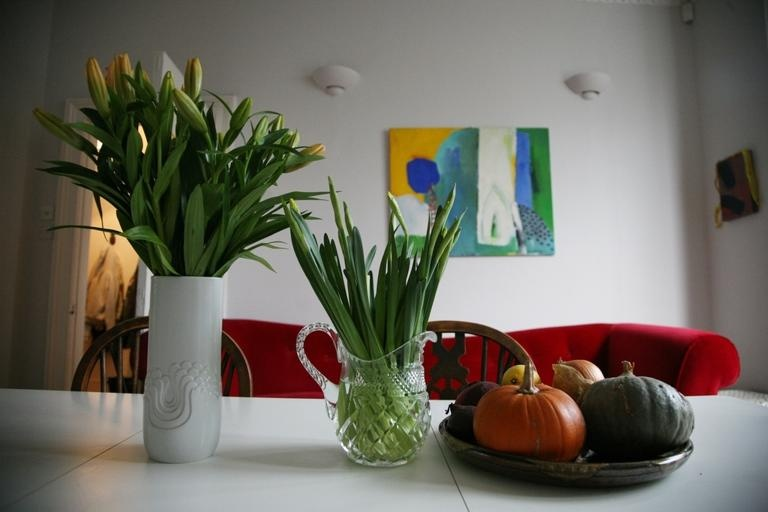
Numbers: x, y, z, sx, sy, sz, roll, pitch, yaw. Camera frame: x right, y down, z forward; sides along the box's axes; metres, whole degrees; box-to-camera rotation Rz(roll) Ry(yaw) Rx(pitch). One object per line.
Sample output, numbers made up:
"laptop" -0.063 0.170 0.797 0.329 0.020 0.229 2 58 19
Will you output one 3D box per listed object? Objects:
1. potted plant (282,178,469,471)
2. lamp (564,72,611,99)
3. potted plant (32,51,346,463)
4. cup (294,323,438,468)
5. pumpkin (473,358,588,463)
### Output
"potted plant" -0.006 0.190 1.515 0.499 0.916 0.488 -1 -3 0
"lamp" 1.412 -1.149 3.736 0.342 0.168 0.168 0 8 -5
"potted plant" -0.405 0.035 1.284 0.495 0.857 0.655 -1 -7 44
"cup" -0.054 0.315 1.268 0.274 0.314 0.212 3 -1 3
"pumpkin" 0.319 0.366 1.209 0.219 0.224 0.230 -5 -7 34
